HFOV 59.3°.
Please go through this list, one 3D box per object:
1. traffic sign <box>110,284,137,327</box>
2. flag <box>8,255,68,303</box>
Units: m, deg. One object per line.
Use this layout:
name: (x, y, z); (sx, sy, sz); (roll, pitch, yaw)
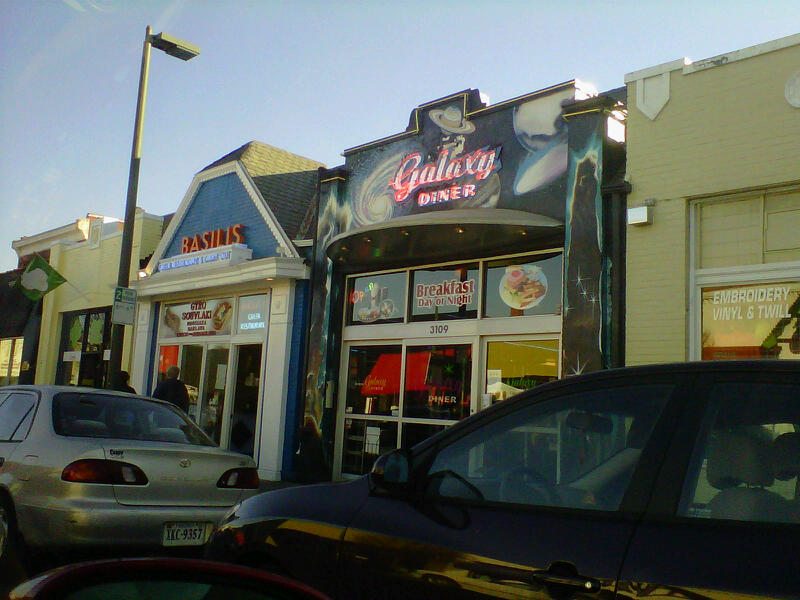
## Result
traffic sign: (-5.030, 0.081, 12.831); (0.369, 0.718, 0.510); (7, -10, -24)
flag: (-10.180, -0.552, 19.948); (1.656, 1.271, 0.162); (2, 1, -5)
